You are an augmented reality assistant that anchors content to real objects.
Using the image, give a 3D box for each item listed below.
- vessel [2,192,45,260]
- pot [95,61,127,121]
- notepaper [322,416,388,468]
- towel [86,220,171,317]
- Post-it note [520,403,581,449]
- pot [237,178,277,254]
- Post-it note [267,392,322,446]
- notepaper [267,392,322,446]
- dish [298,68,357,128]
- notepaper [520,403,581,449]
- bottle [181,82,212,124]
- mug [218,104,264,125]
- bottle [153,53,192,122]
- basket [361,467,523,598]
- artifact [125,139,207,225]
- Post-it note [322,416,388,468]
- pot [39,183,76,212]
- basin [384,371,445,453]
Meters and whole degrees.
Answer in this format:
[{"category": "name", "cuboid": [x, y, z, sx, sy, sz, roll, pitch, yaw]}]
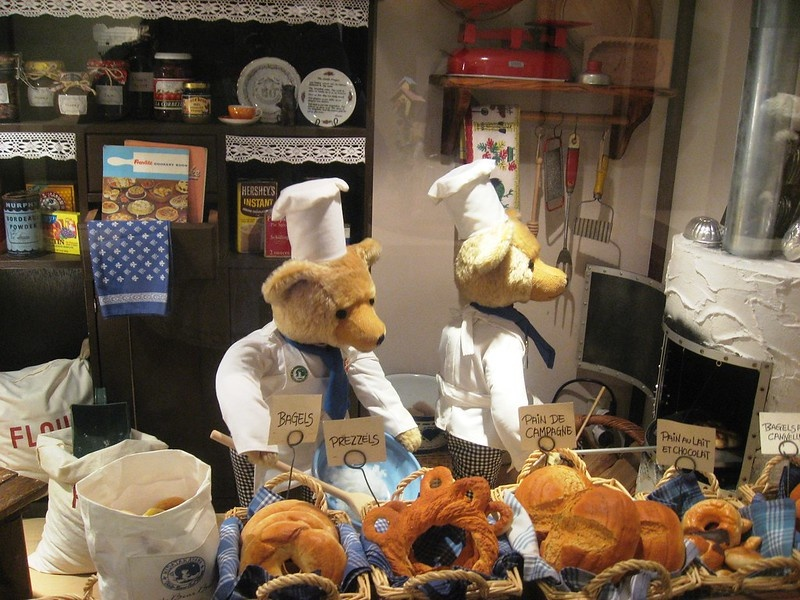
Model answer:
[{"category": "vessel", "cuboid": [-1.383, -0.281, 2.505, 0.124, 0.230, 0.075, -6, 12, -29]}, {"category": "pot", "cuboid": [-1.087, -0.789, 2.564, 0.123, 0.209, 0.134, 4, 13, -1]}, {"category": "notepaper", "cuboid": [-0.129, 0.393, 1.884, 0.183, 0.171, 0.027, -2, 16, -5]}, {"category": "towel", "cuboid": [-0.947, -0.125, 2.390, 0.304, 0.425, 0.045, 1, 18, -9]}, {"category": "Post-it note", "cuboid": [0.431, 0.369, 1.993, 0.159, 0.151, 0.022, -2, 3, -2]}, {"category": "pot", "cuboid": [-0.555, -0.350, 2.652, 0.178, 0.307, 0.169, 5, 30, -3]}, {"category": "Post-it note", "cuboid": [-0.296, 0.328, 1.883, 0.176, 0.187, 0.025, -2, 9, -24]}, {"category": "notepaper", "cuboid": [-0.296, 0.328, 1.883, 0.176, 0.187, 0.025, -2, 9, -24]}, {"category": "dish", "cuboid": [-0.281, -0.768, 2.583, 0.213, 0.208, 0.055, -3, 11, -14]}, {"category": "notepaper", "cuboid": [0.431, 0.369, 1.993, 0.159, 0.151, 0.022, -2, 3, -2]}, {"category": "bottle", "cuboid": [-0.757, -0.727, 2.525, 0.101, 0.146, 0.104, 2, 12, 0]}, {"category": "mug", "cuboid": [-0.587, -0.687, 2.522, 0.171, 0.071, 0.081, -7, 12, -31]}, {"category": "bottle", "cuboid": [-0.866, -0.786, 2.562, 0.129, 0.230, 0.134, 5, 10, -1]}, {"category": "basket", "cuboid": [0.112, 0.597, 1.746, 0.292, 0.086, 0.309, -12, 46, -14]}, {"category": "artifact", "cuboid": [-0.743, -0.404, 2.377, 0.283, 0.290, 0.066, -1, 9, -12]}, {"category": "Post-it note", "cuboid": [-0.129, 0.393, 1.884, 0.183, 0.171, 0.027, -2, 16, -5]}, {"category": "pot", "cuboid": [-1.294, -0.387, 2.561, 0.091, 0.089, 0.031, 6, 5, 1]}, {"category": "basin", "cuboid": [0.088, 0.465, 2.880, 0.277, 0.226, 0.259, 1, 7, 0]}]
